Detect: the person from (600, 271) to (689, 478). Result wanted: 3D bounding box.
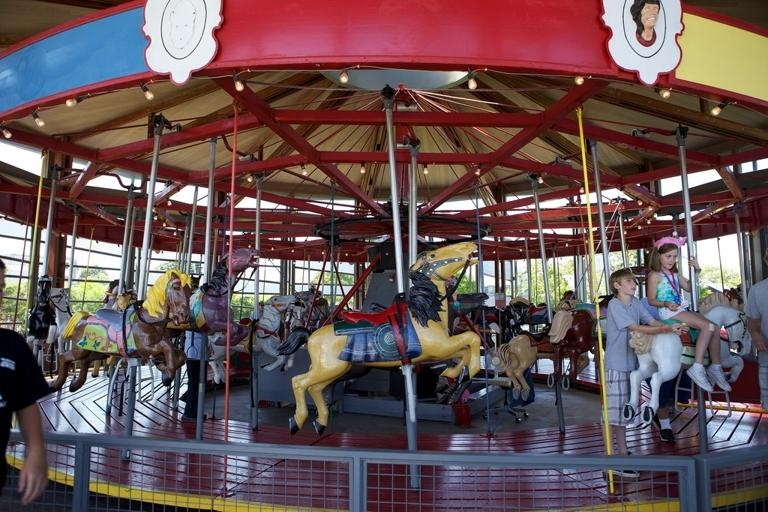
[{"bbox_3d":[2.691,1.120,6.739,0.653,1.983,0.476,-5,-11,28],"label":"person"}]

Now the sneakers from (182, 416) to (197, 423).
[{"bbox_3d":[-2.805,2.346,9.048,0.183,0.058,0.419,3,-9,-22],"label":"sneakers"}]

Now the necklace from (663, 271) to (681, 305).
[{"bbox_3d":[3.285,0.357,7.126,0.102,0.318,0.255,-19,-5,23],"label":"necklace"}]

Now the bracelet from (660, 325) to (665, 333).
[{"bbox_3d":[2.952,0.776,6.660,0.075,0.070,0.020,1,7,3],"label":"bracelet"}]
